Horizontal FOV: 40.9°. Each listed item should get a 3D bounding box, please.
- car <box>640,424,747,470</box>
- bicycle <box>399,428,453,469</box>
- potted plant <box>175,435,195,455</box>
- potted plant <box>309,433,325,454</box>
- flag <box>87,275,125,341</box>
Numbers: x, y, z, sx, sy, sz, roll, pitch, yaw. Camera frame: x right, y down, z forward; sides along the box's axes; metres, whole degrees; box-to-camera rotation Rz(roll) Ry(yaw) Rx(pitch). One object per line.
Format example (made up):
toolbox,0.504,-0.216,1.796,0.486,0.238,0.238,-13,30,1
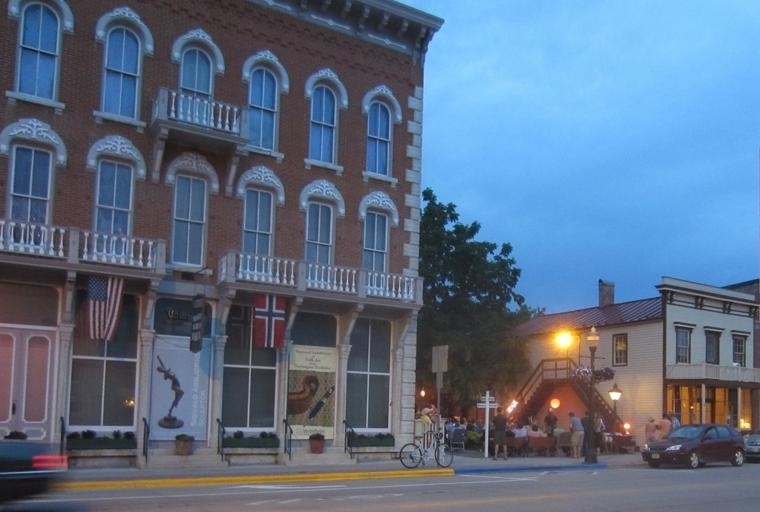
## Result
car,13.545,8.117,43.739,4.504,2.000,1.458,9,-17,-25
bicycle,1.822,7.560,40.082,2.385,1.560,1.140,-1,-8,-9
potted plant,-7.318,6.981,37.884,0.670,0.540,0.702,4,-14,-13
potted plant,-2.516,7.363,40.297,0.589,0.773,0.510,2,-15,-4
flag,-10.066,1.818,37.088,1.216,2.141,0.623,6,-15,-18
